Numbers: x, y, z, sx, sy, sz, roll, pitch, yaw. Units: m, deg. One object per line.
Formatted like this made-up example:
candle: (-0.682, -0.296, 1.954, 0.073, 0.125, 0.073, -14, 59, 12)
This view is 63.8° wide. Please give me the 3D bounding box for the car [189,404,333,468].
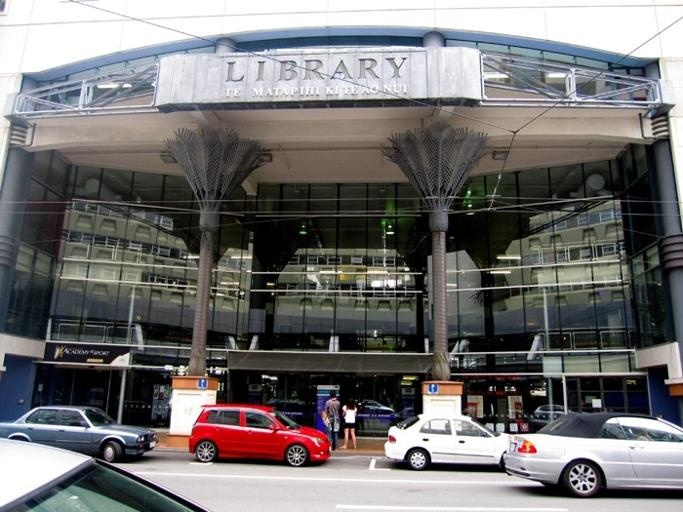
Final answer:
car: (-2.521, 5.842, 18.109, 4.491, 1.381, 1.884, 0, -13, 0)
